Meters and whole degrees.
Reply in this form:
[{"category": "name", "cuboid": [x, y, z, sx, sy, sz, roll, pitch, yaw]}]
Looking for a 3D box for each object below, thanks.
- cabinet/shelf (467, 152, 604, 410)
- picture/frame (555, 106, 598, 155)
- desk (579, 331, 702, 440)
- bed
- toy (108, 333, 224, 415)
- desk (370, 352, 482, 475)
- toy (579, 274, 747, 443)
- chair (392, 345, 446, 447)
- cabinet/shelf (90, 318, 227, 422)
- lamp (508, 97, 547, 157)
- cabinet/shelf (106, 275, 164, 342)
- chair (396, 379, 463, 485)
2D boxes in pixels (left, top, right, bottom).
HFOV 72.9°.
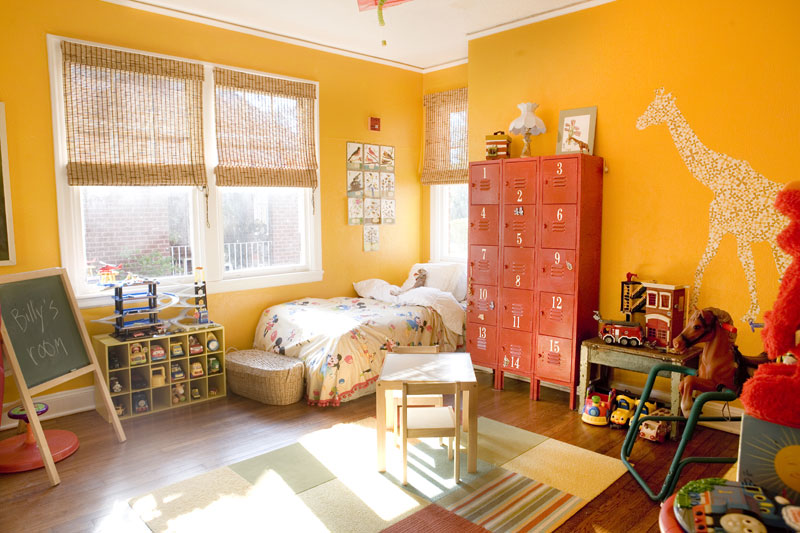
[{"category": "cabinet/shelf", "cuboid": [1.202, 0.100, 5.339, 1.185, 2.322, 0.424, 6, 13, 39]}, {"category": "picture/frame", "cuboid": [1.738, -1.334, 5.297, 0.541, 0.620, 0.044, 7, 4, 40]}, {"category": "desk", "cuboid": [2.141, 1.027, 4.924, 0.885, 0.640, 0.548, 5, 5, 41]}, {"category": "bed", "cuboid": [-0.236, 0.527, 6.183, 1.590, 0.995, 2.419, 13, 16, 44]}, {"category": "toy", "cuboid": [-2.216, 0.957, 5.169, 1.071, 0.739, 0.317, -8, 12, -29]}, {"category": "desk", "cuboid": [0.221, 1.137, 4.402, 0.849, 0.770, 0.848, -1, 1, 3]}, {"category": "toy", "cuboid": [2.407, 0.669, 5.073, 1.192, 0.898, 1.543, 0, 1, -43]}, {"category": "chair", "cuboid": [0.125, 1.022, 4.566, 0.662, 0.632, 0.639, 1, 1, 1]}, {"category": "cabinet/shelf", "cuboid": [-2.290, 0.971, 5.046, 0.878, 0.613, 0.309, -8, 6, -38]}, {"category": "lamp", "cuboid": [1.256, -1.381, 5.505, 0.518, 0.566, 0.515, 0, -1, 10]}, {"category": "cabinet/shelf", "cuboid": [-2.484, 0.398, 5.056, 0.542, 0.600, 0.348, -7, 13, -38]}, {"category": "chair", "cuboid": [0.229, 1.269, 4.214, 0.540, 0.735, 0.596, -4, -13, 16]}]
